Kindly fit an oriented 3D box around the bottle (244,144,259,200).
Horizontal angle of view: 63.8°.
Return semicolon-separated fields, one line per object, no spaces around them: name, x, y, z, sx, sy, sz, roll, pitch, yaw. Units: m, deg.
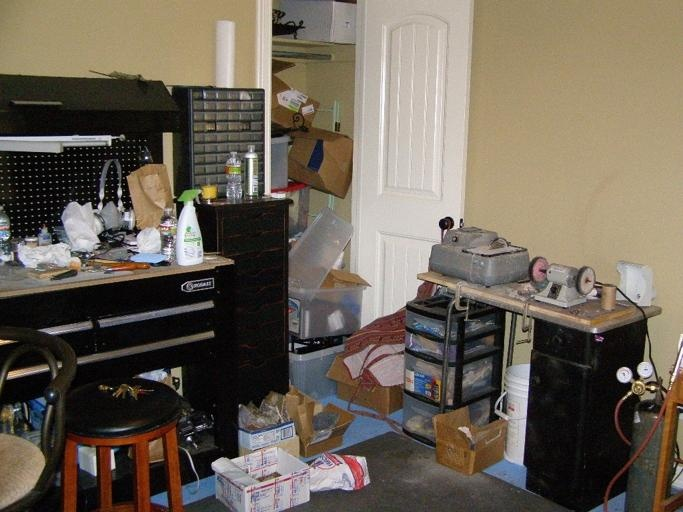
bottle;-0.498;-0.485;3.135;0.086;0.294;0.165;1;11;-10

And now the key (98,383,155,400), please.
key;-0.841;0.529;2.158;0.089;0.022;0.091;6;5;21

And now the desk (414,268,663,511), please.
desk;1.034;0.700;2.839;0.432;0.975;1.022;-5;12;-32

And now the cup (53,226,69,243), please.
cup;-1.432;-0.116;2.856;0.048;0.084;0.049;-25;-12;-5

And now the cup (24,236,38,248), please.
cup;-1.491;-0.074;2.684;0.065;0.063;0.064;3;7;0

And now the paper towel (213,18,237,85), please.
paper towel;-0.641;-1.198;3.257;0.095;0.393;0.101;-14;35;-28

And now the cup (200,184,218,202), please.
cup;-0.704;-0.342;2.984;0.089;0.089;0.080;-1;10;-23
